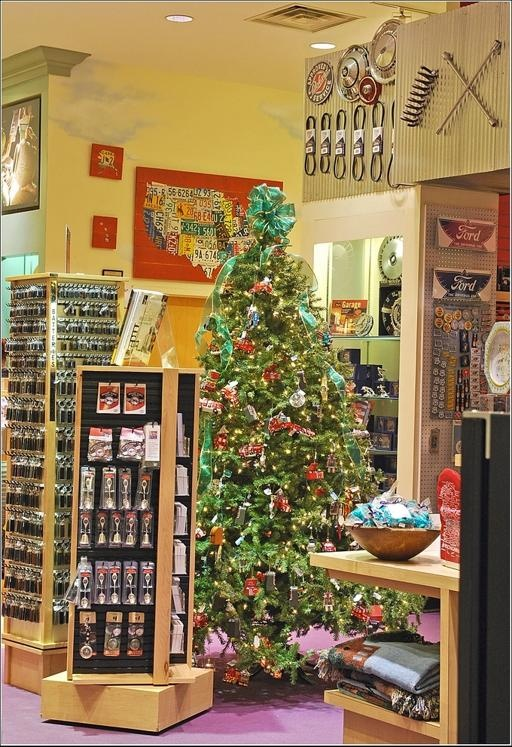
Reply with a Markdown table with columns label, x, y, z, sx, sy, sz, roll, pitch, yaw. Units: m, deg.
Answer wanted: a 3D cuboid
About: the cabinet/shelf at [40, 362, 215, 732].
| label | x | y | z | sx | sy | sz | roll | pitch | yaw |
| --- | --- | --- | --- | --- | --- | --- | --- | --- | --- |
| cabinet/shelf | -0.545 | 0.760 | 3.148 | 0.684 | 1.547 | 0.477 | 3 | -9 | -16 |
